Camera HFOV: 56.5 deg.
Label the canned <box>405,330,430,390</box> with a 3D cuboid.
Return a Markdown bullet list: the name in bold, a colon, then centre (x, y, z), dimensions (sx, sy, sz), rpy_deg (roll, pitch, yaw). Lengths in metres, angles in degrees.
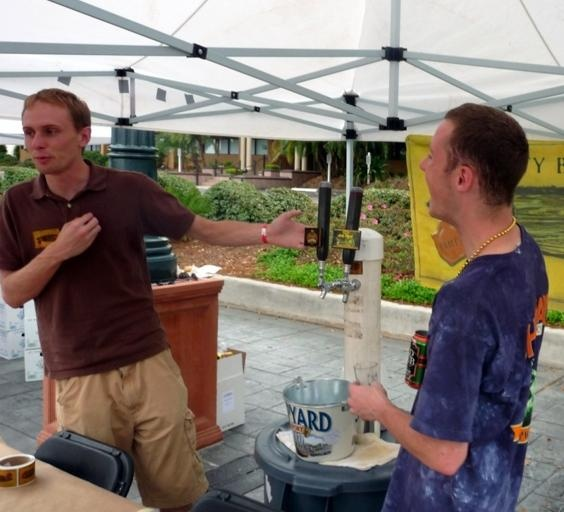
- **canned**: centre (0.409, 0.314, 1.623), dimensions (0.071, 0.176, 0.073), rpy_deg (7, 10, 23)

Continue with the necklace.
- **necklace**: centre (0.583, -0.042, 1.510), dimensions (0.131, 0.205, 0.130), rpy_deg (12, 15, 34)
